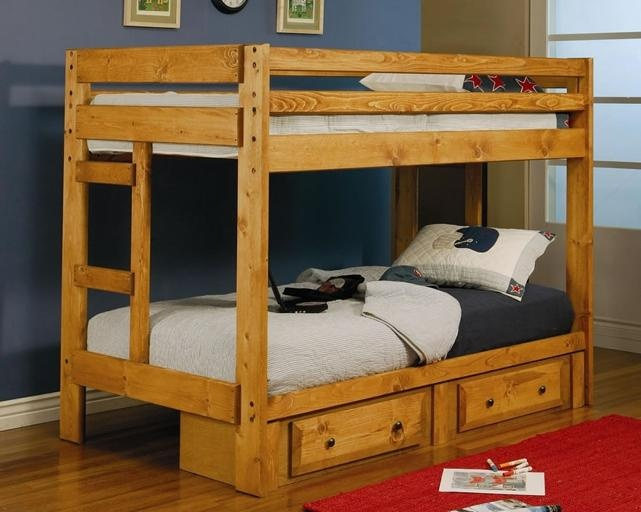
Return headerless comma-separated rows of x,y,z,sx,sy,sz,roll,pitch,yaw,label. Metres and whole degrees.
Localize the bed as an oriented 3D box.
0.092,-0.094,3.207,2.626,1.721,1.806,-2,4,-16,bed
